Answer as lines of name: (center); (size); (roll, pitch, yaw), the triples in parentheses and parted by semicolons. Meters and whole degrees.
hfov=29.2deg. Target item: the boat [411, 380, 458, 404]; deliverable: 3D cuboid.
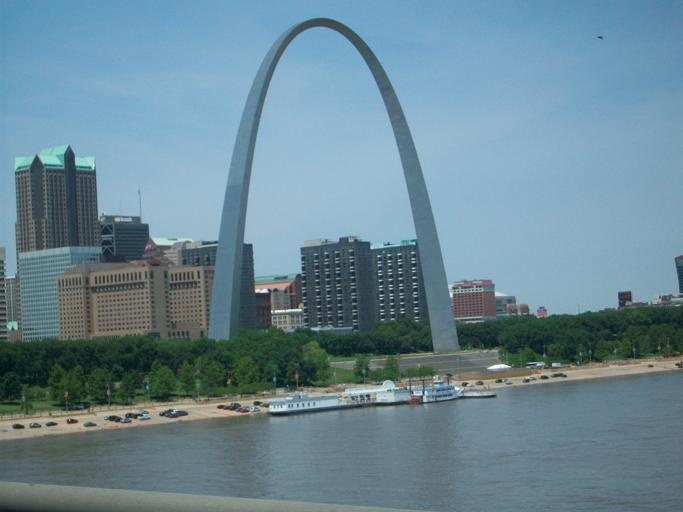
boat: (8.797, 12.718, 121.053); (5.223, 1.590, 1.617); (0, -8, -31)

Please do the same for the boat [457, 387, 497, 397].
boat: (12.815, 12.805, 122.728); (2.606, 1.095, 3.929); (2, -9, -44)

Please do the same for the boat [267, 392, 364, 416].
boat: (-2.521, 13.119, 116.179); (2.425, 1.661, 12.228); (-2, -4, 38)
